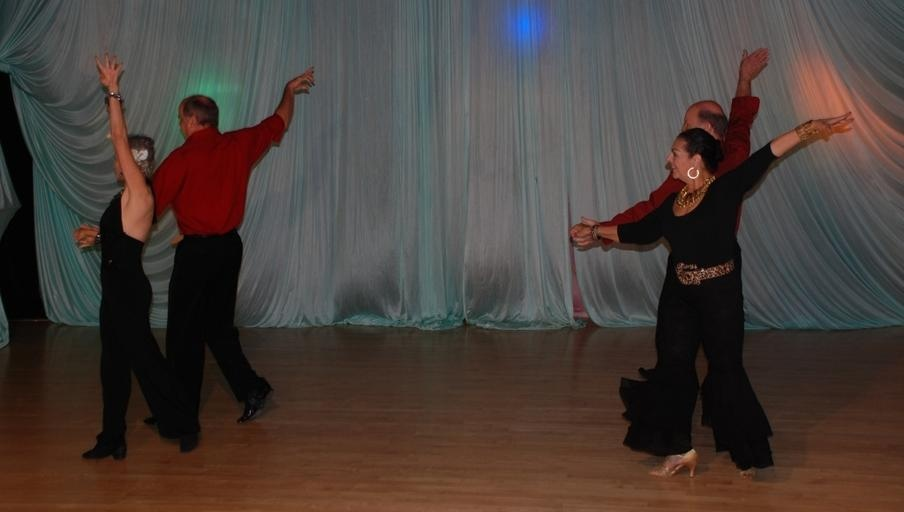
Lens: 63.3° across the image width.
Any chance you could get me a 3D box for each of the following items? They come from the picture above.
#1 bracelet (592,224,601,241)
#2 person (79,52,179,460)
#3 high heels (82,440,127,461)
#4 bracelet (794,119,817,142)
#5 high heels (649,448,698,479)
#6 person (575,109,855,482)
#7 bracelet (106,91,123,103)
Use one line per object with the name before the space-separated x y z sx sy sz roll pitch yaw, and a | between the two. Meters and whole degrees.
bracelet | 1.185 -0.191 5.940 0.055 0.122 0.042 -7 6 -34
person | -2.522 0.046 5.557 0.776 3.014 0.586 -5 13 -19
high heels | -2.655 1.512 5.744 0.392 0.175 0.132 5 -3 -4
bracelet | 2.637 -0.924 5.370 0.155 0.142 0.297 11 17 41
high heels | 1.710 1.585 5.590 0.342 0.181 0.181 -2 3 5
person | 1.851 0.323 5.515 1.346 2.587 0.794 5 14 25
bracelet | -2.531 -1.186 5.501 0.110 0.081 0.137 -1 5 0
